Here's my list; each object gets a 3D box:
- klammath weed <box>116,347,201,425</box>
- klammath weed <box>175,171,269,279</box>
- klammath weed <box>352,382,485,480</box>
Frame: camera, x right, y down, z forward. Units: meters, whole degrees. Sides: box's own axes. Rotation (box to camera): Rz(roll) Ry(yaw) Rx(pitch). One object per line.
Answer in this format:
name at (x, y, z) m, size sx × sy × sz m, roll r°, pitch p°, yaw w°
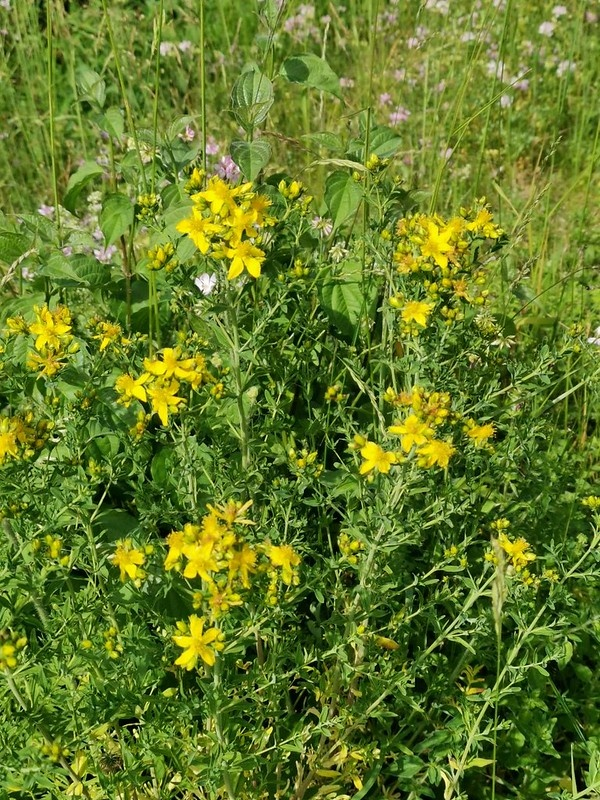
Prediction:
klammath weed at (-0.298, -0.034, 1.821) m, size 0.198 × 0.096 × 0.182 m, roll 7°, pitch 78°, yaw 15°
klammath weed at (-0.180, -0.355, 1.888) m, size 0.247 × 0.111 × 0.223 m, roll -7°, pitch 70°, yaw -23°
klammath weed at (0.271, 0.043, 1.817) m, size 0.251 × 0.243 × 0.228 m, roll -4°, pitch 80°, yaw -3°
